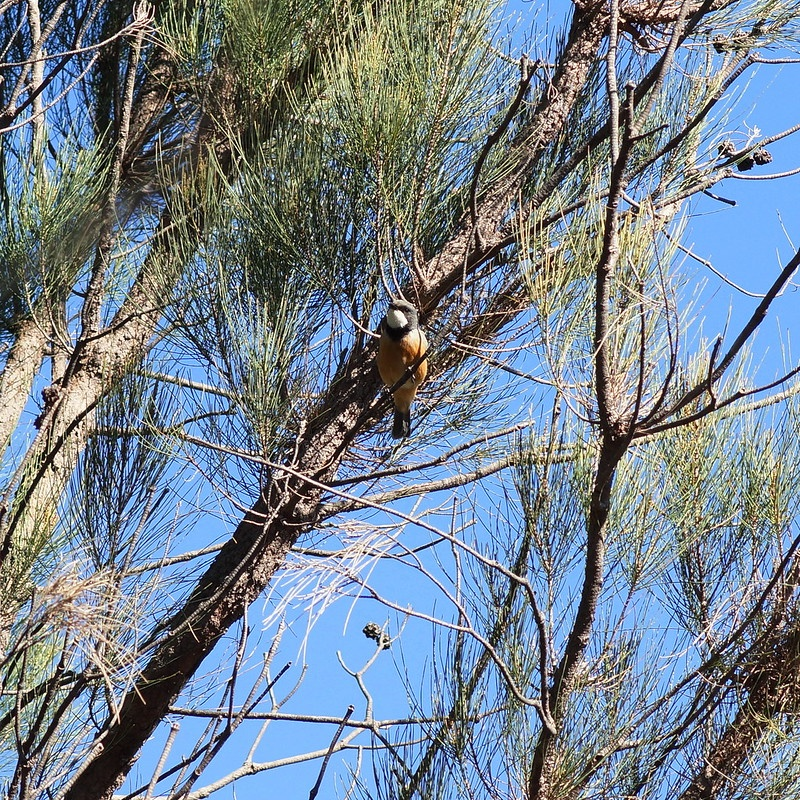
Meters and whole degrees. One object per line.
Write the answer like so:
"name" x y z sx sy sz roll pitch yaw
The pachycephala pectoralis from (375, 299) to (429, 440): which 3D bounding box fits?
"pachycephala pectoralis" 0.007 -0.119 5.092 0.100 0.211 0.448 2 -30 6
